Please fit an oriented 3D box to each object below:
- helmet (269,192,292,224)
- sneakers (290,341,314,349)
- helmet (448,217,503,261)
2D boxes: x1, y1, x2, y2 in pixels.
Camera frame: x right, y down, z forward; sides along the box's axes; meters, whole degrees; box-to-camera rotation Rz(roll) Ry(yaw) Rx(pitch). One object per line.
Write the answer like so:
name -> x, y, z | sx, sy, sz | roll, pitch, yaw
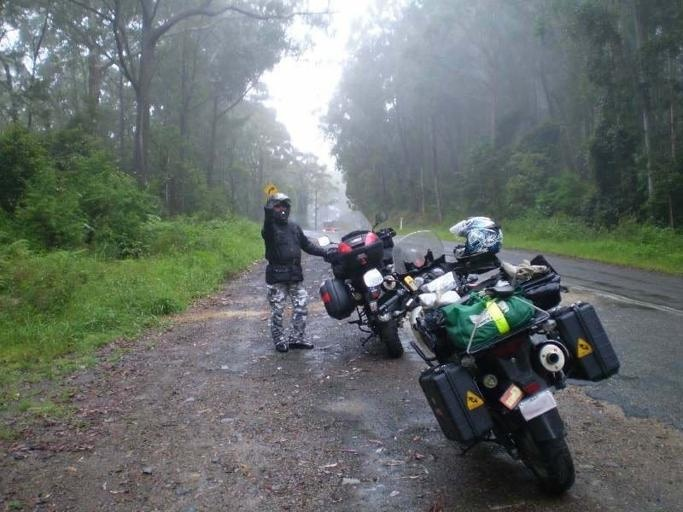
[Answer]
helmet -> -1.015, -0.760, 8.886 | 0.361, 0.468, 0.414 | -4, 7, -9
sneakers -> -0.651, 1.431, 8.997 | 0.401, 0.178, 0.145 | -2, 8, 4
helmet -> 1.698, -0.244, 6.804 | 0.606, 0.533, 0.460 | -8, -3, 22
